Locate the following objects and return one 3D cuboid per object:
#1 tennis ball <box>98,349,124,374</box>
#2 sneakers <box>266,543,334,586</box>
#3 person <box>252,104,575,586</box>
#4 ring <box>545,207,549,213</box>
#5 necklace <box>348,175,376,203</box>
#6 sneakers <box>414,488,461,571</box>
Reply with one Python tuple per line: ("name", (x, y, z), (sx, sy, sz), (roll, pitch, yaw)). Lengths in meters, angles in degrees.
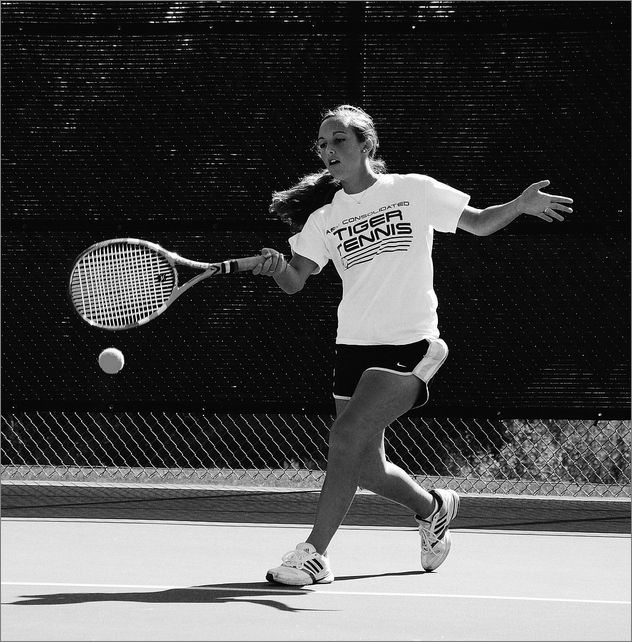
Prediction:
("tennis ball", (-0.918, 0.184, 4.554), (0.099, 0.146, 0.129), (1, 18, -13))
("sneakers", (-0.054, 0.769, 3.261), (0.247, 0.129, 0.099), (4, -15, -16))
("person", (0.184, 0.109, 3.561), (0.908, 1.568, 0.846), (-3, 19, -23))
("ring", (0.760, -0.366, 3.352), (0.011, 0.013, 0.019), (2, -1, 10))
("necklace", (0.158, -0.459, 3.524), (0.098, 0.036, 0.072), (-42, 12, -22))
("sneakers", (0.426, 0.738, 3.654), (0.123, 0.307, 0.115), (9, -3, -26))
